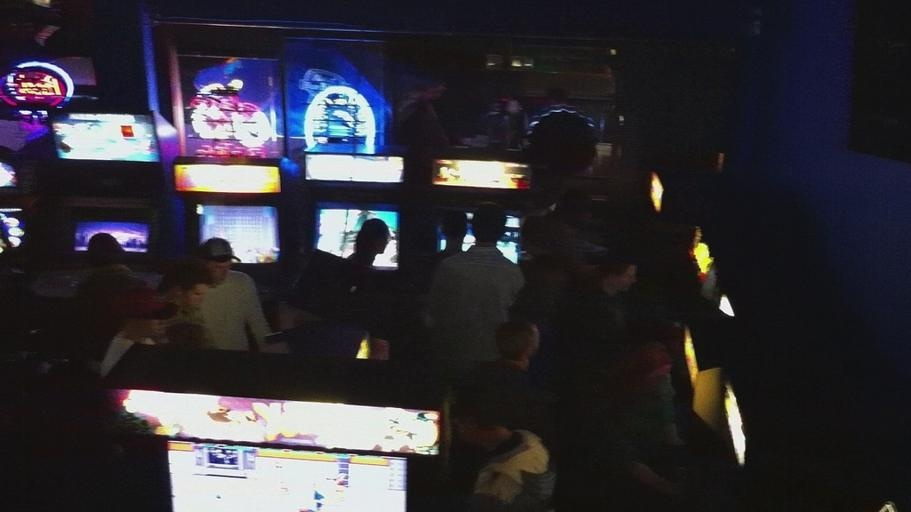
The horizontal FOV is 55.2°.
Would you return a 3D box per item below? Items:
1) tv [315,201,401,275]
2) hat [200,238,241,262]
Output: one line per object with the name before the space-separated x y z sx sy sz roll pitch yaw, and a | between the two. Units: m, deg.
tv | -0.698 -0.115 6.359 0.672 0.401 0.021 2 -18 3
hat | -1.777 -0.047 6.563 0.283 0.131 0.193 -5 -4 26
